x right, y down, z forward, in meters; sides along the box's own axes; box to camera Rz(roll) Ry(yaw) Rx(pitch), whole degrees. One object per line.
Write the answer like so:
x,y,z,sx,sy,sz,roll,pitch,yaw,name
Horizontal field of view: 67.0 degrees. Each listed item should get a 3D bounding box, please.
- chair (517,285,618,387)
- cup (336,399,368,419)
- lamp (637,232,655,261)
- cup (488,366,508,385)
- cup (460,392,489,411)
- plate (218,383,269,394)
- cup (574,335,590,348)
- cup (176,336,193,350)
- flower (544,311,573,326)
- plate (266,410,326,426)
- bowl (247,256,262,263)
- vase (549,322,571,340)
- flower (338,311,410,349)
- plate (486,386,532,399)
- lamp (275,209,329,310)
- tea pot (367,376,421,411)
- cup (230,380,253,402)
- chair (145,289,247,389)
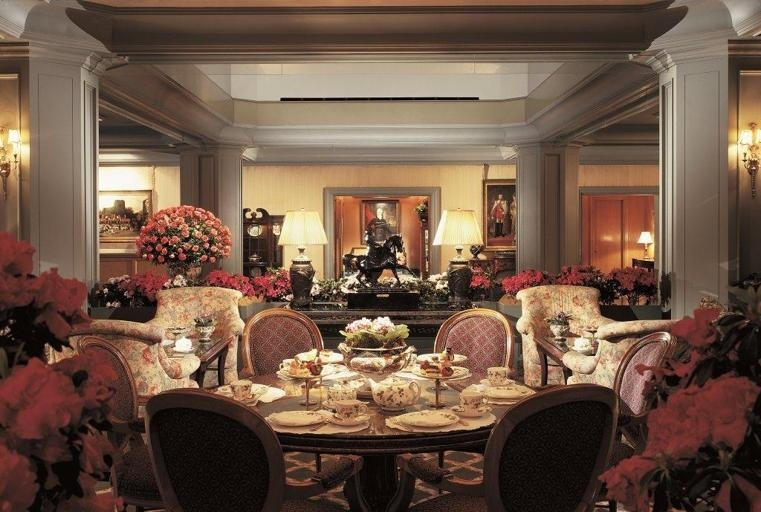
1.770,0.759,5.847,1.046,1.093,1.021,0,-3,3,chair
-0.130,0.653,2.475,0.115,0.050,0.088,3,-3,3,cup
5.427,-0.234,11.812,0.306,0.571,0.613,1,1,24,lamp
0.608,0.621,2.988,0.103,0.065,0.075,1,0,3,cup
0.418,0.641,2.546,0.095,0.066,0.073,3,-5,-27,cup
-0.671,0.649,2.820,0.122,0.016,0.116,-1,-2,10,plate
1.525,0.650,4.352,0.110,0.067,0.105,-3,6,0,cup
-1.455,0.651,4.279,0.101,0.093,0.099,1,6,0,cup
1.467,0.545,4.908,0.215,0.086,0.219,-5,-7,44,flower
-0.358,0.696,2.465,0.121,0.016,0.123,2,4,25,plate
-2.424,0.066,11.112,0.167,0.118,0.184,-1,1,7,bowl
1.503,0.627,4.886,0.170,0.116,0.162,1,-3,-21,vase
-0.053,0.406,3.069,0.247,0.103,0.243,-2,-3,27,flower
0.619,0.673,2.839,0.150,0.019,0.143,0,4,11,plate
-0.869,0.010,6.397,0.457,1.037,2.260,0,1,-8,lamp
0.072,0.637,2.687,0.201,0.114,0.138,1,0,12,tea pot
-0.653,0.630,2.701,0.102,0.068,0.090,-6,9,-38,cup
-1.766,0.705,5.575,1.078,1.128,1.089,0,-6,-6,chair
